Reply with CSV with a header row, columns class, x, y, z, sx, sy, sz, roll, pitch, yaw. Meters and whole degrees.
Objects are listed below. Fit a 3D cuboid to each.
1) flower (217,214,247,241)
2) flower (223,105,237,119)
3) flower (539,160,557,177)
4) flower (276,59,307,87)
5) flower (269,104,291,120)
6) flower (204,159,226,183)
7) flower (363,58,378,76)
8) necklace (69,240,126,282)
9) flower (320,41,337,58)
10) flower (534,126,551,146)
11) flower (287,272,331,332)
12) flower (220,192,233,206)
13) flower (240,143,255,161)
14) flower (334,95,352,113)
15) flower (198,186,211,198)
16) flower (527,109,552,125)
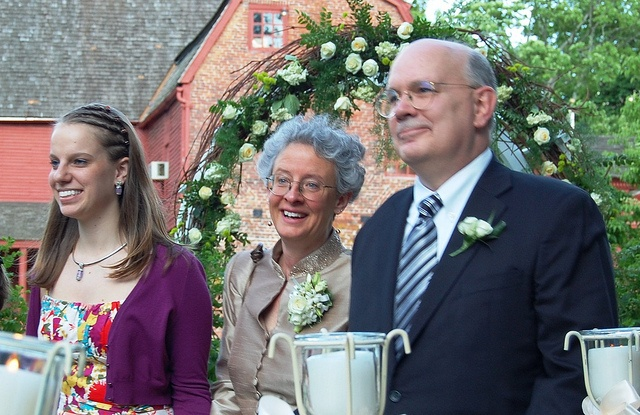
class,x,y,z,sx,sy,sz,roll,pitch,yaw
flower,-0.797,0.178,6.908,0.222,0.154,0.224,11,45,18
flower,-0.791,-0.810,6.751,0.116,0.110,0.050,-12,16,-3
flower,1.937,-0.321,6.624,0.166,0.147,0.067,2,-2,6
flower,-0.244,-1.136,6.730,0.229,0.221,0.112,-33,-11,-7
flower,-0.352,-0.801,6.775,0.141,0.073,0.130,6,-10,-4
flower,-0.915,-0.304,6.795,0.179,0.178,0.065,14,7,-5
flower,0.416,-1.177,6.637,0.142,0.125,0.067,-12,10,13
necklace,-1.476,0.347,5.166,0.288,0.087,0.240,-44,25,-20
flower,0.056,-1.331,6.679,0.144,0.121,0.086,-4,17,21
flower,1.876,-0.591,6.629,0.136,0.130,0.072,-17,-15,20
flower,-0.078,0.640,5.308,0.331,0.329,0.136,-5,-17,38
flower,-0.825,-0.069,6.932,0.109,0.104,0.112,-1,-3,9
flower,-0.633,-0.472,6.789,0.158,0.139,0.064,-4,16,-22
flower,0.191,-0.867,6.661,0.144,0.089,0.134,0,-1,-15
flower,-1.002,-0.123,6.852,0.088,0.099,0.103,27,13,29
flower,1.850,-0.751,6.660,0.158,0.076,0.153,3,-2,-42
